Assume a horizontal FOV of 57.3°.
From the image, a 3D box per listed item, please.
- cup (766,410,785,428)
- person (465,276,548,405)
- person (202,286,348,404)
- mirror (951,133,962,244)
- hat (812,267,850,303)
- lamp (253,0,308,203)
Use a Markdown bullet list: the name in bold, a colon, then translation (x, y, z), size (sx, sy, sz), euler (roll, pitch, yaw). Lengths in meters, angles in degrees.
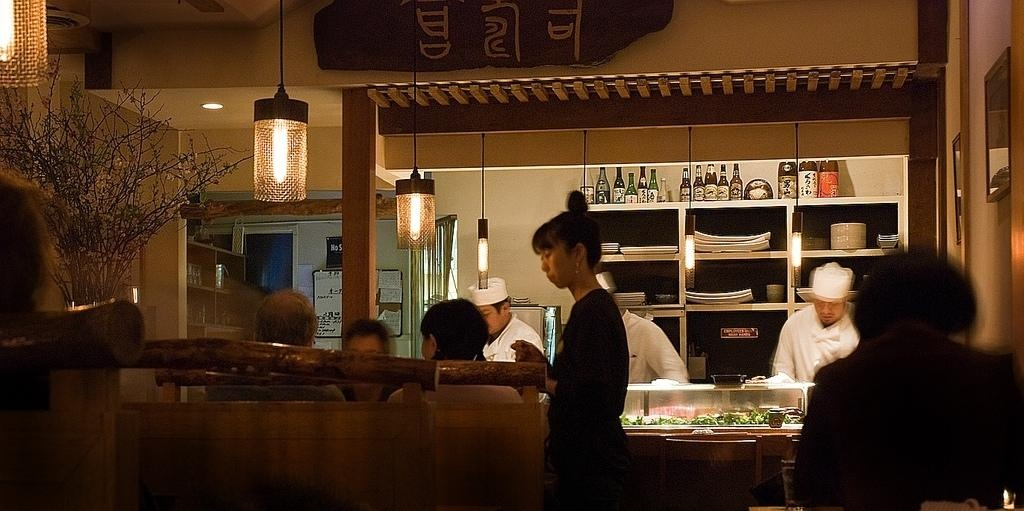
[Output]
- **cup**: translation (2.345, 1.455, 8.404), size (0.131, 0.136, 0.151), euler (2, -20, 12)
- **person**: translation (0.026, 0.796, 9.486), size (0.791, 1.109, 1.231), euler (-4, 3, -35)
- **person**: translation (-1.643, 0.642, 6.620), size (0.900, 0.495, 0.837), euler (0, -7, -2)
- **mirror**: translation (3.826, -0.573, 8.098), size (0.065, 0.916, 0.543), euler (0, -4, 23)
- **hat**: translation (3.258, 0.302, 9.569), size (0.418, 0.286, 0.307), euler (9, -7, -36)
- **lamp**: translation (-1.696, -0.814, 6.847), size (0.376, 0.820, 0.302), euler (3, -4, -16)
